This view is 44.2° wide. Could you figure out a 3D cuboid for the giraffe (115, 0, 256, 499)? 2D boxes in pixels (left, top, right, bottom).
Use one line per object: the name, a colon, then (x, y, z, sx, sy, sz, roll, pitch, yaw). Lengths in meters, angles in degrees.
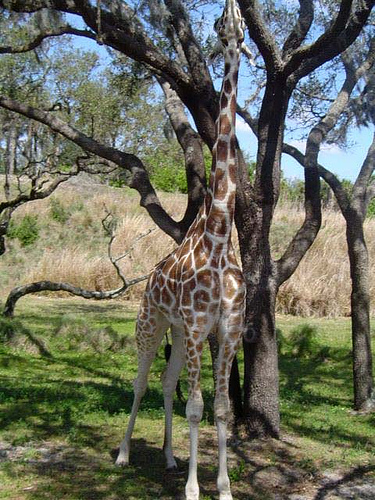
giraffe: (0.102, -0.068, 3.857, 0.778, 3.431, 1.492, 7, -2, -18)
